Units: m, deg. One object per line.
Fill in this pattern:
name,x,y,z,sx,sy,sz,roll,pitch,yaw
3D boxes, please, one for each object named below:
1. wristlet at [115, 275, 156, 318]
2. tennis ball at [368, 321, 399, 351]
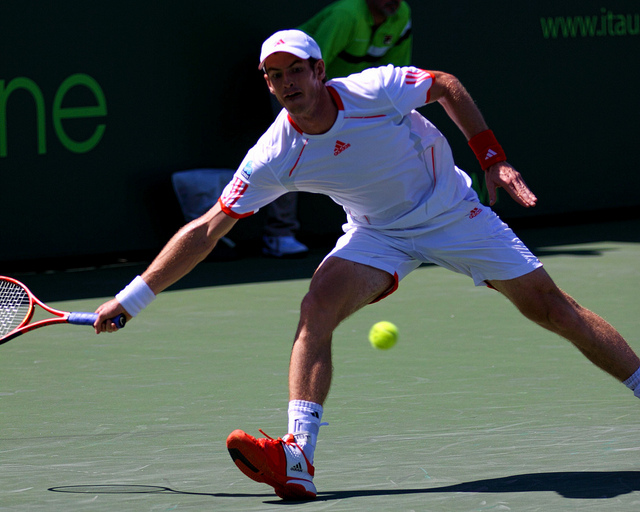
wristlet,-0.745,0.164,3.428,0.150,0.161,0.063,-3,12,-12
tennis ball,0.345,0.445,4.722,0.141,0.150,0.152,-1,11,0
